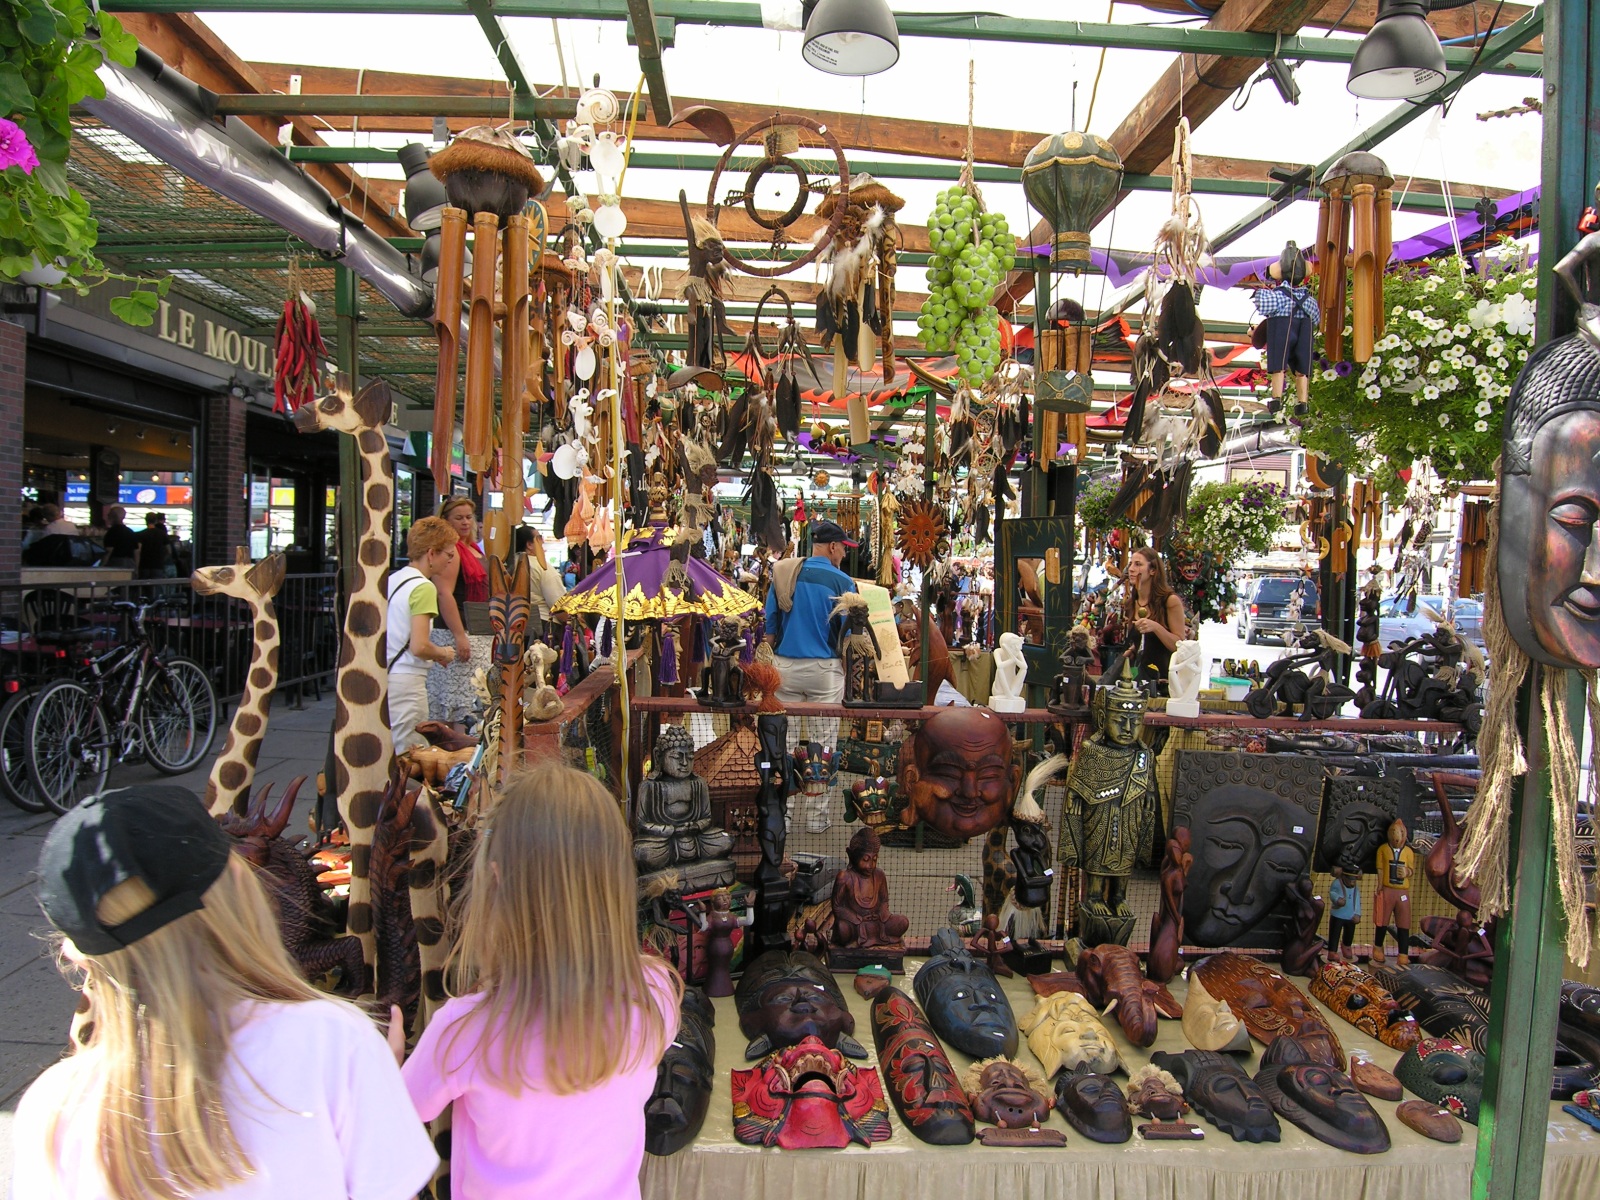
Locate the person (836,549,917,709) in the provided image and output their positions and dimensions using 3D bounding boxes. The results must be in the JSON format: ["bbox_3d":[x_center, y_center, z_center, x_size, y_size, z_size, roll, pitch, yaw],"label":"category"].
[{"bbox_3d":[0.385,0.177,5.909,0.459,0.968,0.540,0,-6,-2],"label":"person"}]

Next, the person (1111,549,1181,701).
[{"bbox_3d":[2.095,0.257,7.081,0.319,1.189,0.387,-13,21,-8],"label":"person"}]

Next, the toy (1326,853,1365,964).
[{"bbox_3d":[1.983,1.118,4.373,0.107,0.352,0.263,2,0,36],"label":"toy"}]

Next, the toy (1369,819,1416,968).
[{"bbox_3d":[2.156,1.050,4.354,0.128,0.482,0.161,2,0,29],"label":"toy"}]

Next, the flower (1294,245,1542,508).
[{"bbox_3d":[2.399,-0.920,4.618,0.578,0.851,0.876,3,0,-37],"label":"flower"}]

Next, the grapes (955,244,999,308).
[{"bbox_3d":[0.659,-1.210,4.518,0.192,0.252,0.189,1,4,-4],"label":"grapes"}]

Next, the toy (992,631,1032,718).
[{"bbox_3d":[0.826,0.286,4.704,0.138,0.300,0.391,2,0,11],"label":"toy"}]

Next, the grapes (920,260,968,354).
[{"bbox_3d":[0.537,-1.121,4.620,0.145,0.353,0.139,-2,6,7],"label":"grapes"}]

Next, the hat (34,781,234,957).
[{"bbox_3d":[-1.269,0.528,2.288,0.297,0.333,0.097,3,0,-4],"label":"hat"}]

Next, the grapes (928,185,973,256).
[{"bbox_3d":[0.576,-1.463,4.545,0.128,0.307,0.131,11,-15,-40],"label":"grapes"}]

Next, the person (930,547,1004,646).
[{"bbox_3d":[1.522,0.012,11.400,0.781,1.124,0.498,4,0,-43],"label":"person"}]

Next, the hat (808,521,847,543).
[{"bbox_3d":[0.176,-0.391,6.921,0.151,0.085,0.107,-11,14,-40],"label":"hat"}]

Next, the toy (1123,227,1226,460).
[{"bbox_3d":[1.483,-0.983,4.718,0.404,0.875,0.308,2,0,-8],"label":"toy"}]

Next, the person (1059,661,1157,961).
[{"bbox_3d":[1.117,0.753,4.298,0.398,0.932,0.296,2,0,-8],"label":"person"}]

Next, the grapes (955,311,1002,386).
[{"bbox_3d":[0.685,-0.956,4.598,0.127,0.321,0.158,3,-12,-4],"label":"grapes"}]
